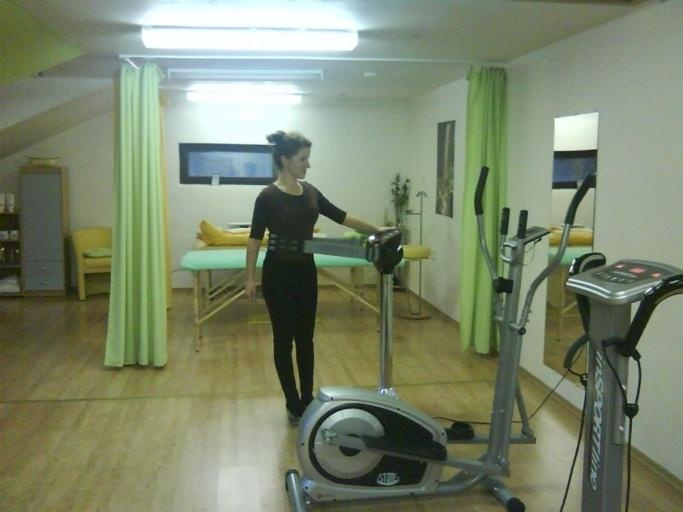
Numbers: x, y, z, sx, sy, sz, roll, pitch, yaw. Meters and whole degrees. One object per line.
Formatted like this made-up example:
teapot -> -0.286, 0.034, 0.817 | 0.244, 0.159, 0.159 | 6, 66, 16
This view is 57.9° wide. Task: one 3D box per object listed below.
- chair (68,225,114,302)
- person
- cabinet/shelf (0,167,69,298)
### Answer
chair -> -2.718, 0.064, 7.004 | 0.616, 0.703, 0.615 | 6, 15, -12
person -> -0.265, 0.139, 3.807 | 0.642, 1.760, 0.343 | -2, 14, -10
cabinet/shelf -> -3.304, -0.277, 6.843 | 0.608, 1.397, 0.337 | -7, 16, -25
